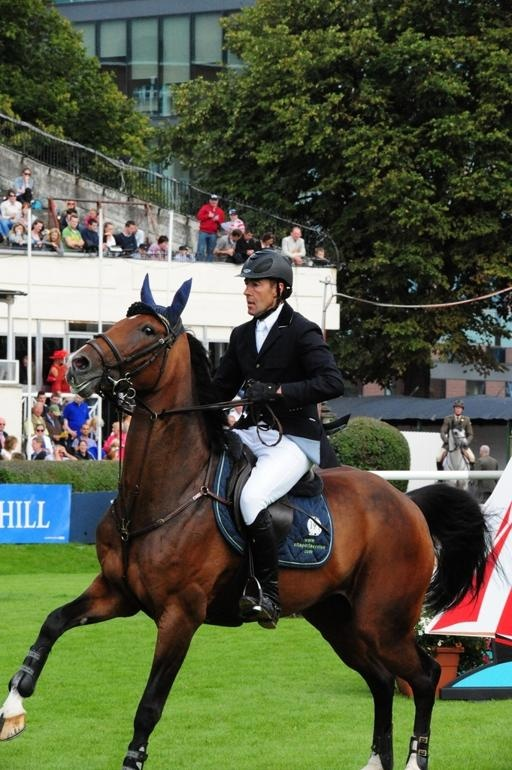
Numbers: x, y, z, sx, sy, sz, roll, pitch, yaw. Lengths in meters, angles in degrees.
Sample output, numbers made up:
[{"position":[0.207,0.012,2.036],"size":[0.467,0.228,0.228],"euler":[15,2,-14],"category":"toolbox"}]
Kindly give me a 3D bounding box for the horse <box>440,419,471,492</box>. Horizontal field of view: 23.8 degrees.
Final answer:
[{"position":[3.132,1.147,19.127],"size":[0.479,1.533,1.597],"euler":[2,9,11],"category":"horse"}]

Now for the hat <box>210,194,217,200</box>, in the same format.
[{"position":[-0.774,-3.490,22.248],"size":[0.127,0.159,0.133],"euler":[0,-4,-1],"category":"hat"}]

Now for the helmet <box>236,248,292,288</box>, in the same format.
[{"position":[0.048,-0.625,6.460],"size":[0.264,0.147,0.183],"euler":[4,-2,-31],"category":"helmet"}]

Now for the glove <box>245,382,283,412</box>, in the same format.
[{"position":[0.040,0.060,6.209],"size":[0.167,0.058,0.121],"euler":[-5,19,-21],"category":"glove"}]

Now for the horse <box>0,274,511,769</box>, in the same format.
[{"position":[0.126,0.740,6.293],"size":[2.885,2.544,0.877],"euler":[-1,4,-38],"category":"horse"}]

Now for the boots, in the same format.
[{"position":[0.019,0.928,6.008],"size":[0.190,0.599,0.305],"euler":[2,4,1],"category":"boots"}]
